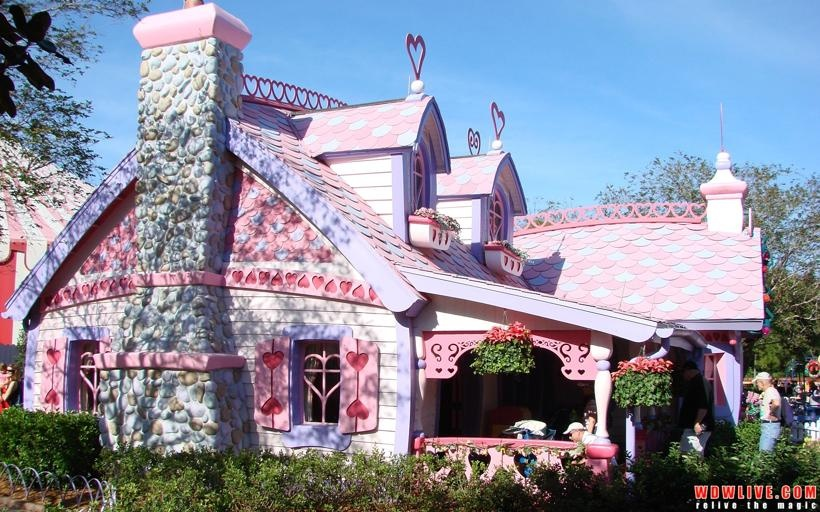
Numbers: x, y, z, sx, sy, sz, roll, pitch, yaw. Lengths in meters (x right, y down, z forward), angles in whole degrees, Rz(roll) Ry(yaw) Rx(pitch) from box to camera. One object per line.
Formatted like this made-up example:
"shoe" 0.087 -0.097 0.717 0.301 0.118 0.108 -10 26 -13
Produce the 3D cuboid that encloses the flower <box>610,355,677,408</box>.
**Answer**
"flower" 4.841 2.586 19.568 1.014 1.045 1.027 3 1 28

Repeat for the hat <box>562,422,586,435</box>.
"hat" 3.609 3.764 20.531 0.603 0.348 0.448 -1 -13 11

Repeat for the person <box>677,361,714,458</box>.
"person" 6.439 3.429 21.309 0.684 2.151 1.466 -3 -15 16

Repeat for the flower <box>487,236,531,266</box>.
"flower" 2.580 -0.303 25.032 0.524 0.680 1.942 -5 -16 25

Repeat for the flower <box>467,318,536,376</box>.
"flower" 1.925 1.922 19.624 1.205 0.973 1.166 1 -17 -26
